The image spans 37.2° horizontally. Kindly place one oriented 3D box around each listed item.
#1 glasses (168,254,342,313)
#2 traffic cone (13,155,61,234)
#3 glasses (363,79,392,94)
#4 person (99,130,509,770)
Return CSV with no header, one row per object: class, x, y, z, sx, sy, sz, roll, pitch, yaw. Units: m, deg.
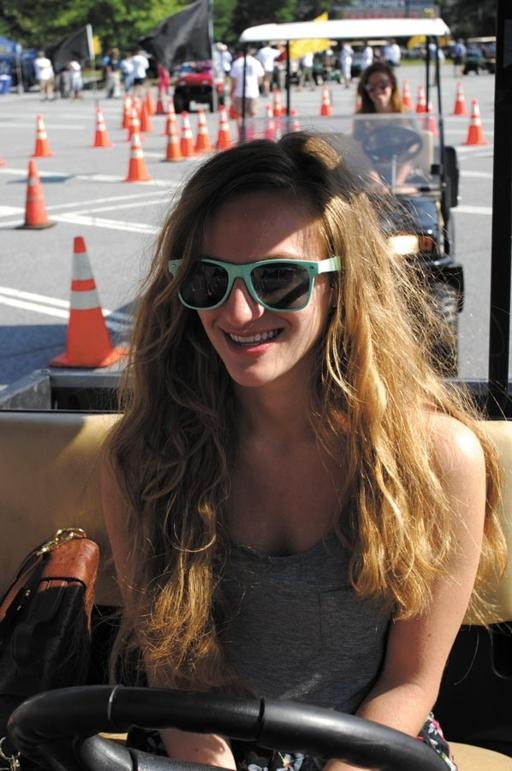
glasses,-0.026,-0.168,1.269,0.249,0.091,0.095,4,13,29
traffic cone,-1.025,-0.888,3.541,0.154,0.328,0.397,-5,11,-14
glasses,0.570,-1.395,3.540,0.115,0.054,0.050,-1,11,8
person,0.041,0.104,1.422,0.782,1.117,0.489,2,12,19
